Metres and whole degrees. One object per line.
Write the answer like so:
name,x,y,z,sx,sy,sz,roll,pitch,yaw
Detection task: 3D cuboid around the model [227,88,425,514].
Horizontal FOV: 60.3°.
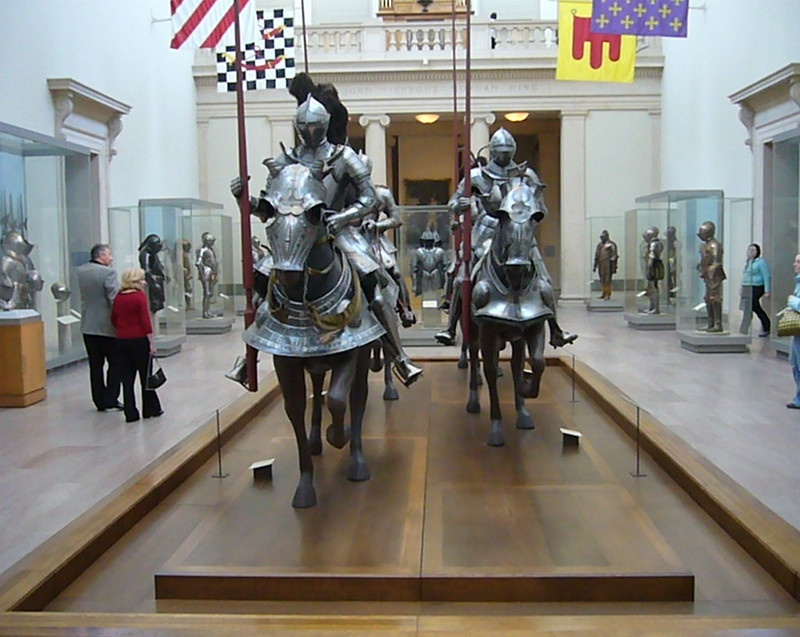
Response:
model,-0.556,-0.225,5.271,1.168,3.096,1.753,-1,9,1

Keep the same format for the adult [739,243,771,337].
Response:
adult,6.250,-0.480,12.072,0.619,1.635,0.532,-1,7,-1

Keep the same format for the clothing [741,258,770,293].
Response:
clothing,6.217,-0.732,11.954,0.301,0.695,0.576,0,-1,-12

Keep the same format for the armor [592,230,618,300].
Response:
armor,5.465,-1.375,18.115,0.572,1.823,0.603,1,8,12

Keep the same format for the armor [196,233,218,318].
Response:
armor,-4.237,-0.944,15.077,0.346,1.850,0.791,-1,8,-4

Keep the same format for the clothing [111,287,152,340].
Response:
clothing,-3.035,-0.040,7.683,0.468,0.622,0.309,0,5,6

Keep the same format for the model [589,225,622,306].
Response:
model,5.423,-1.414,18.142,0.338,1.759,0.638,-11,14,-34

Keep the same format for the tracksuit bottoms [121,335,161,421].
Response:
tracksuit bottoms,-2.960,0.732,7.834,0.301,0.820,0.185,3,3,39

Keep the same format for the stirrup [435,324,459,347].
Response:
stirrup,0.481,0.200,7.440,0.113,0.285,0.364,-4,-15,33

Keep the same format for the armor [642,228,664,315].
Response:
armor,5.490,-1.033,14.703,0.358,1.791,0.516,0,8,6

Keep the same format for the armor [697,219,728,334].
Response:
armor,5.372,-0.710,11.735,0.410,1.817,0.747,1,8,10

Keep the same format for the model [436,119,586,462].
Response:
model,1.071,-0.359,6.890,0.853,3.161,2.873,-2,6,4

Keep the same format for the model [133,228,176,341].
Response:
model,-4.391,-0.685,12.259,0.377,1.591,0.582,1,14,0
